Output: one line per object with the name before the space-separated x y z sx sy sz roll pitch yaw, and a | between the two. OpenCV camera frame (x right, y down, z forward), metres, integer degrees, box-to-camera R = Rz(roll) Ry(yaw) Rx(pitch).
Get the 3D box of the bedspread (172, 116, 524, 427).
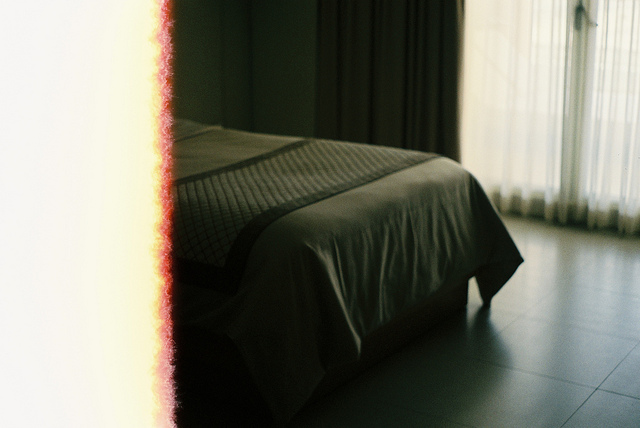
bedspread | -0.166 0.252 2.554 1.679 0.694 1.106 10 23 31
